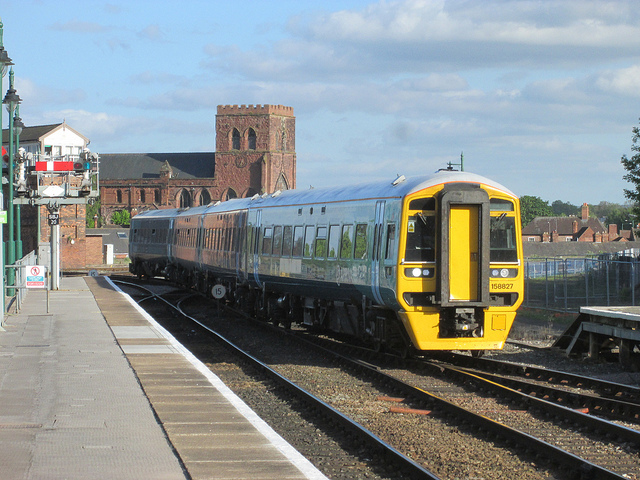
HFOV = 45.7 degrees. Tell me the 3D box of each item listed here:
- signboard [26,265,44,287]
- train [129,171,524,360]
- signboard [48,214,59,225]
[{"bbox_3d":[-8.217,1.075,21.919,0.631,0.703,0.078,-1,-4,-6],"label":"signboard"},{"bbox_3d":[-2.946,0.399,28.082,2.545,4.014,27.525,1,0,-26],"label":"train"},{"bbox_3d":[-11.871,-0.919,33.860,0.563,0.547,0.059,1,-8,-1],"label":"signboard"}]
